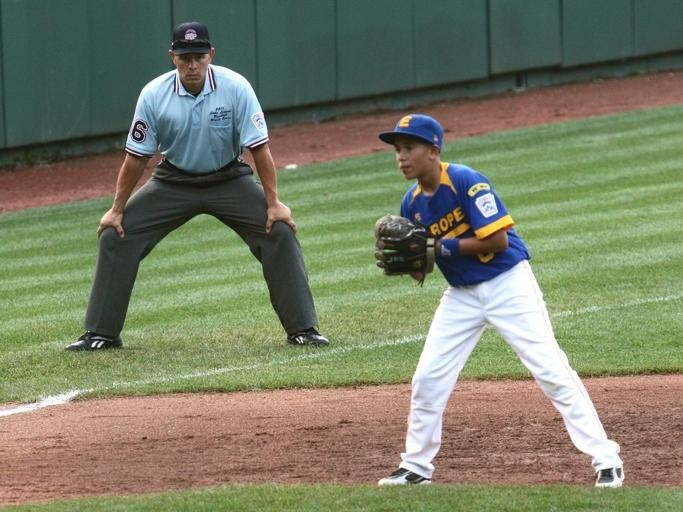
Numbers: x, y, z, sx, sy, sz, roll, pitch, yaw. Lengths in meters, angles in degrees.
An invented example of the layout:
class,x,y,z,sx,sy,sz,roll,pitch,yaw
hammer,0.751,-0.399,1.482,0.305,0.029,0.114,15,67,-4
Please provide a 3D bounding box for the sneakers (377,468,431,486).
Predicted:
class,x,y,z,sx,sy,sz,roll,pitch,yaw
sneakers,0.527,1.866,10.706,0.477,0.145,0.152,1,-6,-4

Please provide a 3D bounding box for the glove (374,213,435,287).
class,x,y,z,sx,sy,sz,roll,pitch,yaw
glove,0.546,-0.067,10.910,0.502,0.405,0.635,-6,18,-32

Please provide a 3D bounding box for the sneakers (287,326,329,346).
class,x,y,z,sx,sy,sz,roll,pitch,yaw
sneakers,-0.353,0.849,13.128,0.440,0.153,0.167,-1,-2,18

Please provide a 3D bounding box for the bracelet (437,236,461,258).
class,x,y,z,sx,sy,sz,roll,pitch,yaw
bracelet,0.907,-0.085,10.790,0.237,0.176,0.150,-2,9,-1

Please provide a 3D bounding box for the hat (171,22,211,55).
class,x,y,z,sx,sy,sz,roll,pitch,yaw
hat,-1.537,-2.192,12.708,0.398,0.272,0.239,-7,3,-6

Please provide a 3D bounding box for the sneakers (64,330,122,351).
class,x,y,z,sx,sy,sz,roll,pitch,yaw
sneakers,-2.571,0.890,13.188,0.656,0.202,0.200,2,-4,-12
